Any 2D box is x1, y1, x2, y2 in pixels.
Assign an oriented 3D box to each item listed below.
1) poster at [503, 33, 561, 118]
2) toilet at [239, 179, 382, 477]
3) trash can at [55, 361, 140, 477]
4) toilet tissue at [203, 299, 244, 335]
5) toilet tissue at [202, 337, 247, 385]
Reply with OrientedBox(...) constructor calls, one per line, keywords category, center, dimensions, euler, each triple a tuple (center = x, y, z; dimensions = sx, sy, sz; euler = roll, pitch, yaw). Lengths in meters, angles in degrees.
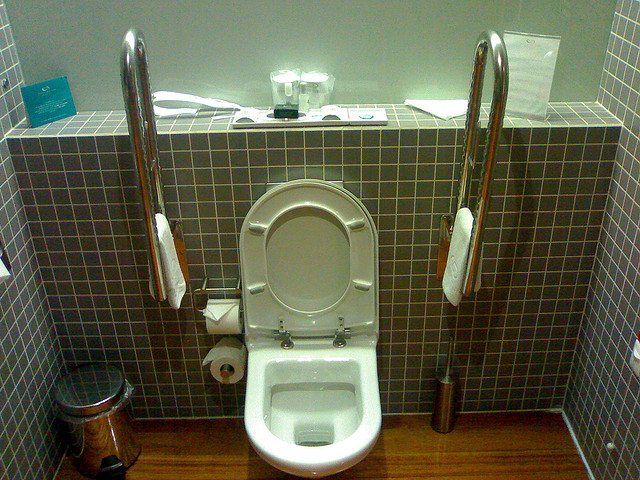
OrientedBox(category="poster", center=(0.767, -0.606, 2.061), dimensions=(0.180, 0.279, 0.042), euler=(5, 20, 11))
OrientedBox(category="toilet", center=(-0.043, 0.346, 2.102), dimensions=(0.440, 1.033, 0.782), euler=(-2, 25, 0))
OrientedBox(category="trash can", center=(-0.926, 0.733, 2.378), dimensions=(0.307, 0.486, 0.292), euler=(-25, 43, -38))
OrientedBox(category="toilet tissue", center=(-0.385, 0.311, 2.260), dimensions=(0.147, 0.134, 0.143), euler=(0, 28, 1))
OrientedBox(category="toilet tissue", center=(-0.368, 0.499, 2.334), dimensions=(0.150, 0.198, 0.184), euler=(1, 33, 6))
